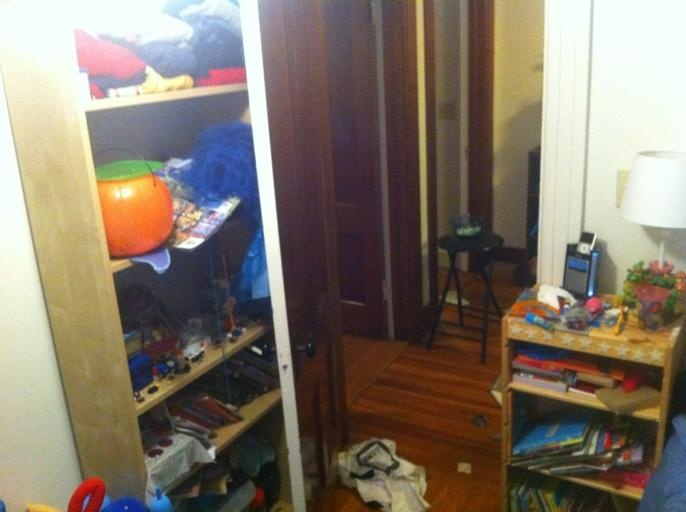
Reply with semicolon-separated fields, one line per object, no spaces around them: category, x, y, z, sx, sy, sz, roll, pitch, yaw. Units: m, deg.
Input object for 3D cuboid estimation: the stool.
stool;0.727;0.121;3.403;0.408;0.597;0.962;1;20;15
